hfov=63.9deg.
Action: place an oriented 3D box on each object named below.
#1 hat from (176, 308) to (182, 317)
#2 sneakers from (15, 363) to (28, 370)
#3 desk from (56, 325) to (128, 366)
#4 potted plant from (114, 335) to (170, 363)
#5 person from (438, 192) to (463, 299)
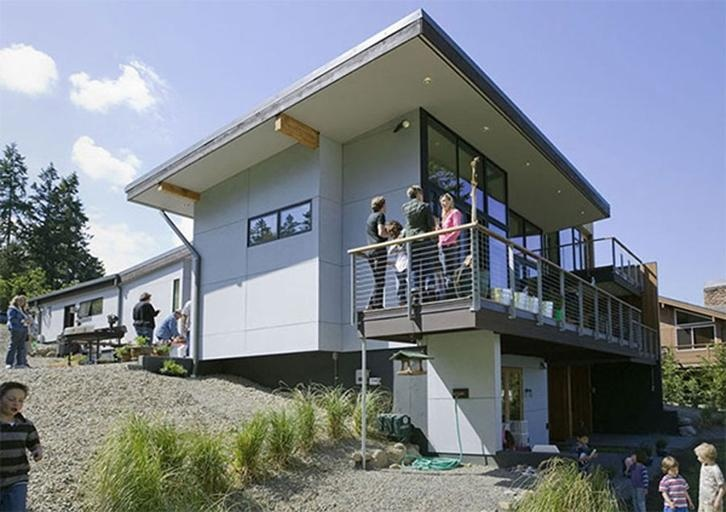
[{"bbox_3d":[-6.334,1.958,20.077,0.180,0.244,0.261,6,-17,-24],"label":"hat"},{"bbox_3d":[-10.232,3.326,17.589,0.308,0.107,0.206,2,-5,26],"label":"sneakers"},{"bbox_3d":[-9.529,3.086,20.188,1.619,1.340,5.261,13,-23,-29],"label":"desk"},{"bbox_3d":[-7.189,3.003,19.068,1.111,0.570,1.278,1,-17,-3],"label":"potted plant"},{"bbox_3d":[2.059,-0.298,13.852,0.544,2.502,1.427,-1,-19,9],"label":"person"}]
